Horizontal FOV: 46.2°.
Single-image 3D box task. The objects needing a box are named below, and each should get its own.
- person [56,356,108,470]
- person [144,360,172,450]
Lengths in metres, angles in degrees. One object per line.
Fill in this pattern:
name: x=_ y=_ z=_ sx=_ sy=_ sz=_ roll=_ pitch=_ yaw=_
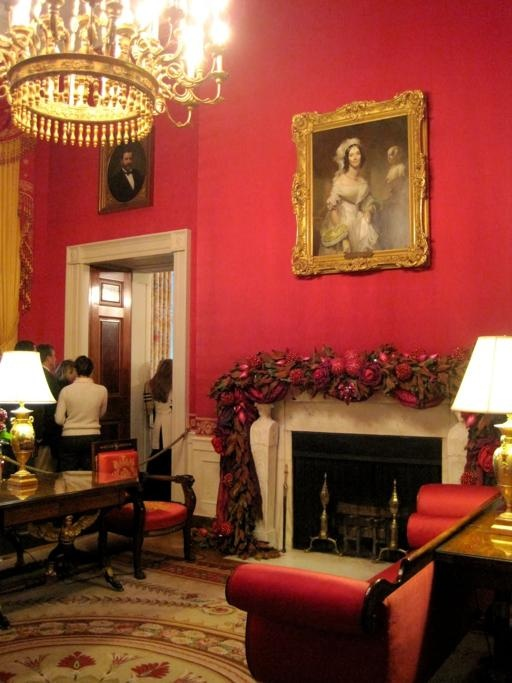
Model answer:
person: x=-1.466 y=0.603 z=5.017 sx=0.402 sy=0.936 sz=0.257 roll=2 pitch=-6 yaw=-16
person: x=-1.198 y=0.801 z=7.274 sx=0.304 sy=1.122 sz=0.653 roll=3 pitch=-6 yaw=-24
